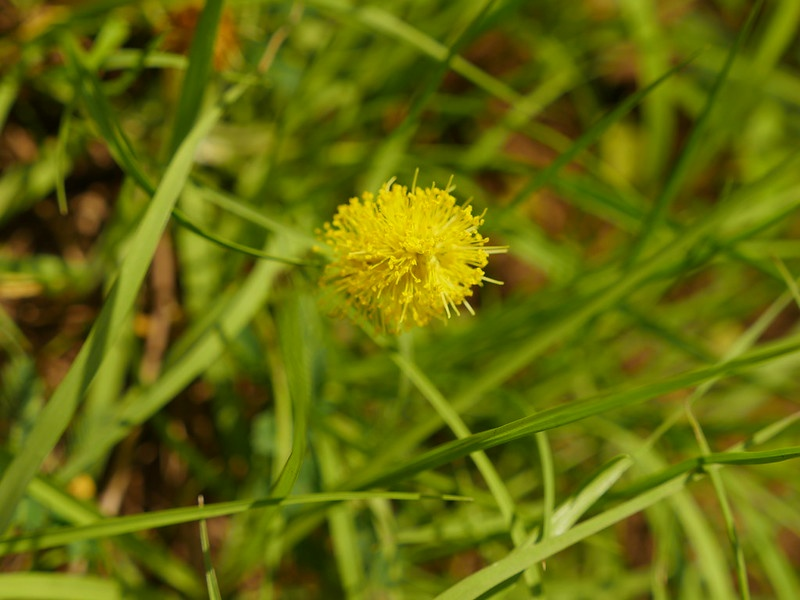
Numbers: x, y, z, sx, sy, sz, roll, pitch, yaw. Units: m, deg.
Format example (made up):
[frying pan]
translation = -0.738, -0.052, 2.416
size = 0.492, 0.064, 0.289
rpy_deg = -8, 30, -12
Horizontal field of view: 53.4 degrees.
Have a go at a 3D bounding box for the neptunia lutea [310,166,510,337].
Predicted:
[neptunia lutea]
translation = 0.008, -0.060, 1.087
size = 0.226, 0.228, 0.134
rpy_deg = -33, -9, -10
